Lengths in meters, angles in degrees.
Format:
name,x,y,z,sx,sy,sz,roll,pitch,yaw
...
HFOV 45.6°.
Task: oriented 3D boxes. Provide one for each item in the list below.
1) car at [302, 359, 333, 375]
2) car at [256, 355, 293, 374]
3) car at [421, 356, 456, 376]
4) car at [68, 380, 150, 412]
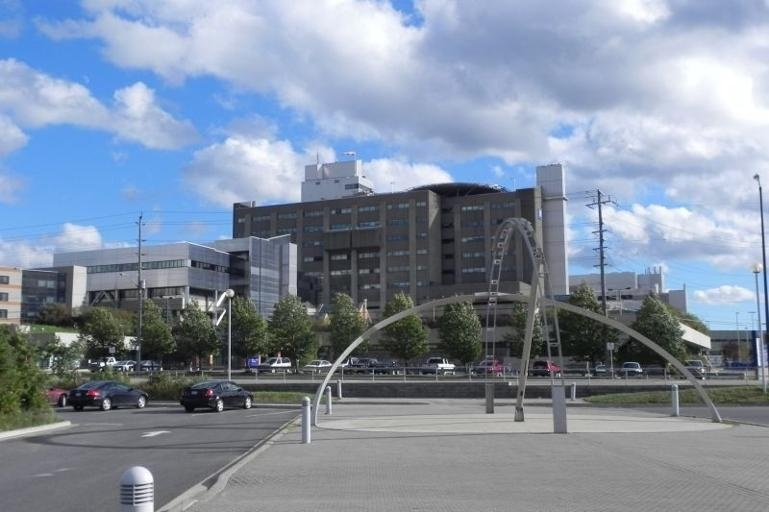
name,x,y,z,sx,sy,sz,roll,pitch,yaw
car,-6.814,11.272,92.503,2.492,1.484,7.367,1,-9,-5
car,-11.056,11.017,92.629,3.155,1.864,6.904,1,-8,-3
car,5.308,10.509,85.221,1.780,1.530,3.282,-1,-1,37
car,-15.968,8.079,53.279,1.823,1.344,4.048,-3,-5,39
